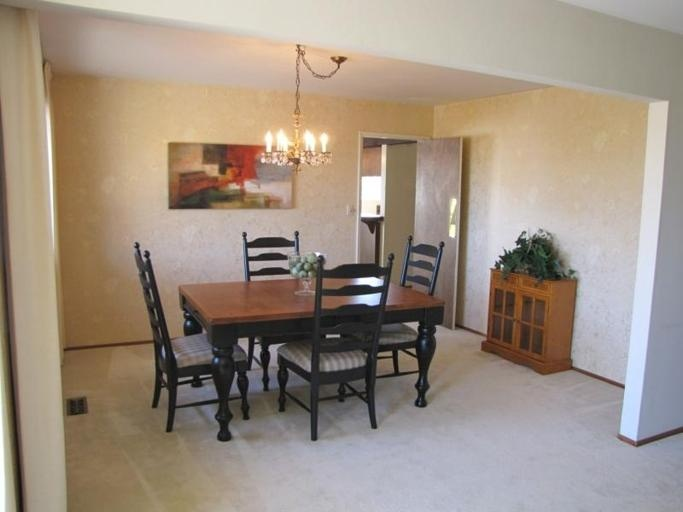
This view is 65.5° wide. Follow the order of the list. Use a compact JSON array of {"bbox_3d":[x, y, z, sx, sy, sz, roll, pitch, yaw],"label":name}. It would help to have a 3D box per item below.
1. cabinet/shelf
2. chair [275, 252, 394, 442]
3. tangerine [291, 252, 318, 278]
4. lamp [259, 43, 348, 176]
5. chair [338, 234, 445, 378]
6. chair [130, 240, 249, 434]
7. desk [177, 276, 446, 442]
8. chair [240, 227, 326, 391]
[{"bbox_3d":[1.794,0.595,5.082,0.419,0.887,0.726,-6,13,-31],"label":"cabinet/shelf"},{"bbox_3d":[-0.069,0.619,3.872,0.642,1.272,0.776,-2,5,-34],"label":"chair"},{"bbox_3d":[-0.282,0.075,4.045,0.187,0.135,0.186,-1,-2,-33],"label":"tangerine"},{"bbox_3d":[-0.296,-1.386,4.466,0.682,1.286,0.544,-1,7,-3],"label":"lamp"},{"bbox_3d":[0.302,0.438,4.612,0.801,1.303,0.858,9,0,-40],"label":"chair"},{"bbox_3d":[-1.081,0.587,3.862,0.703,1.201,0.605,-4,8,-29],"label":"chair"},{"bbox_3d":[-0.636,0.544,4.043,1.540,0.803,1.170,-1,5,-22],"label":"desk"},{"bbox_3d":[-0.499,0.423,4.609,0.701,1.203,0.759,-1,8,-12],"label":"chair"}]
